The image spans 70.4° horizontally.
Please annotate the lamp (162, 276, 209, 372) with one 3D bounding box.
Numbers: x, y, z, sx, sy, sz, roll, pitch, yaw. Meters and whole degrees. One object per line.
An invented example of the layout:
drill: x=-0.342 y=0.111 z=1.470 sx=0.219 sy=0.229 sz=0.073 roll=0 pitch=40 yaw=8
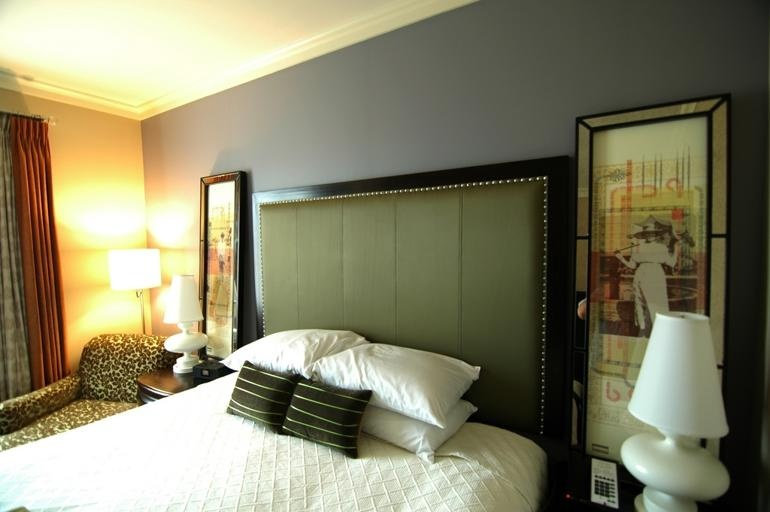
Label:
lamp: x=-1.644 y=0.537 z=4.454 sx=0.315 sy=0.769 sz=0.607 roll=-3 pitch=3 yaw=-21
